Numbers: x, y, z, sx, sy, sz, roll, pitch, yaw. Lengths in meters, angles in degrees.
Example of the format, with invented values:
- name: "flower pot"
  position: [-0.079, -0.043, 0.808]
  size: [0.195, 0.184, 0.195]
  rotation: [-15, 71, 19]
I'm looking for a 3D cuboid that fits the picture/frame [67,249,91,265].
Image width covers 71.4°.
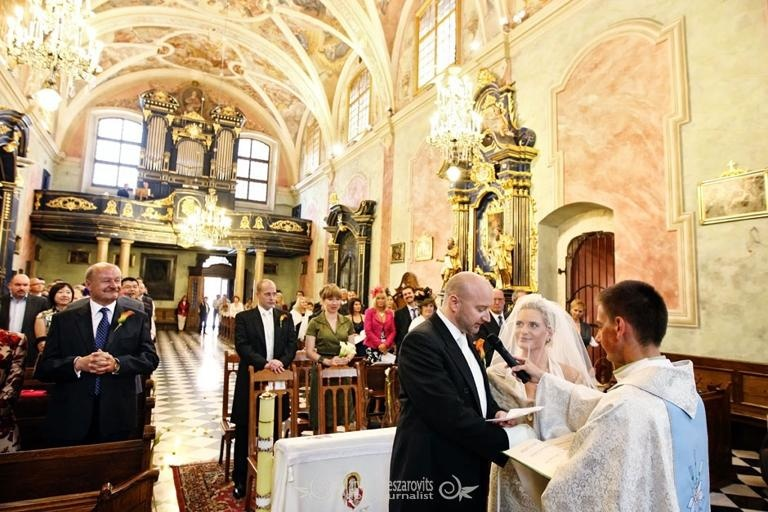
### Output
- name: "picture/frame"
  position: [-10.356, 0.046, 17.985]
  size: [0.507, 0.430, 0.053]
  rotation: [5, -14, -29]

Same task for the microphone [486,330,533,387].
- name: "microphone"
  position: [1.055, 0.856, 4.430]
  size: [0.142, 0.473, 0.142]
  rotation: [-41, -2, 29]

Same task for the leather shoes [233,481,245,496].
- name: "leather shoes"
  position: [-1.570, 2.557, 5.854]
  size: [0.137, 0.130, 0.131]
  rotation: [-8, -16, 18]

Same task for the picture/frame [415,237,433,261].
- name: "picture/frame"
  position: [0.871, -0.147, 11.469]
  size: [0.052, 0.427, 0.455]
  rotation: [9, -15, -23]

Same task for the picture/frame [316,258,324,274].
- name: "picture/frame"
  position: [-2.111, 0.339, 17.582]
  size: [0.057, 0.436, 0.509]
  rotation: [3, -6, -24]

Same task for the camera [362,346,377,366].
- name: "camera"
  position: [-0.203, 1.439, 7.729]
  size: [0.187, 0.306, 0.193]
  rotation: [1, -12, -5]

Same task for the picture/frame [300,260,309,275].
- name: "picture/frame"
  position: [-2.862, 0.423, 19.104]
  size: [0.048, 0.412, 0.474]
  rotation: [5, -12, -23]

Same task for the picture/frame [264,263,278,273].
- name: "picture/frame"
  position: [-4.390, 0.467, 20.491]
  size: [0.373, 0.262, 0.049]
  rotation: [3, -11, -31]

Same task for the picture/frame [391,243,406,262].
- name: "picture/frame"
  position: [0.338, -0.068, 12.581]
  size: [0.030, 0.341, 0.395]
  rotation: [9, -15, -22]

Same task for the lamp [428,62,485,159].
- name: "lamp"
  position: [1.293, -2.633, 9.531]
  size: [0.908, 2.100, 1.569]
  rotation: [1, -9, 7]
